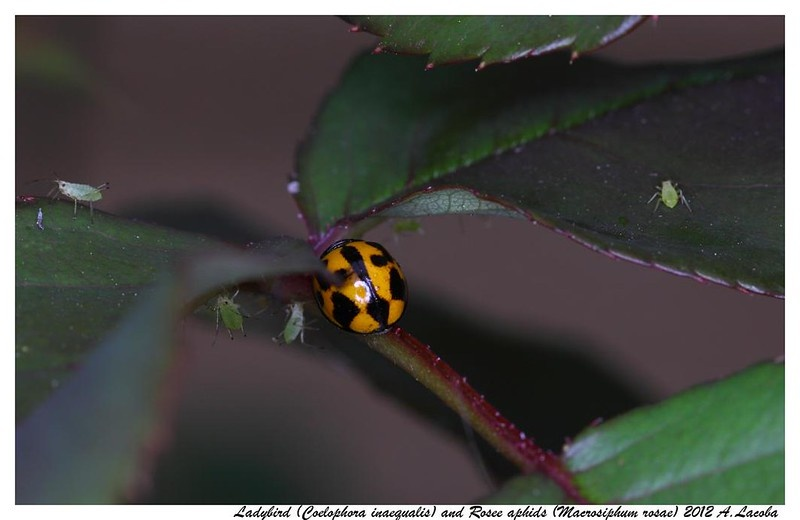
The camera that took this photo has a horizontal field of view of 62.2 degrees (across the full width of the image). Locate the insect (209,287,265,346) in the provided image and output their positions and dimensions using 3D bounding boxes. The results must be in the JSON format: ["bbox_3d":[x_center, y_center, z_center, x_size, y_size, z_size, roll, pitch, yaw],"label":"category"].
[{"bbox_3d":[-0.314,0.108,1.227,0.108,0.028,0.099,-14,35,-20],"label":"insect"}]

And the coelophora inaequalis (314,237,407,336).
[{"bbox_3d":[-0.070,0.052,1.190,0.164,0.166,0.090,0,12,-25],"label":"coelophora inaequalis"}]

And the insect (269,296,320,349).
[{"bbox_3d":[-0.191,0.114,1.226,0.069,0.080,0.024,4,19,-11],"label":"insect"}]
